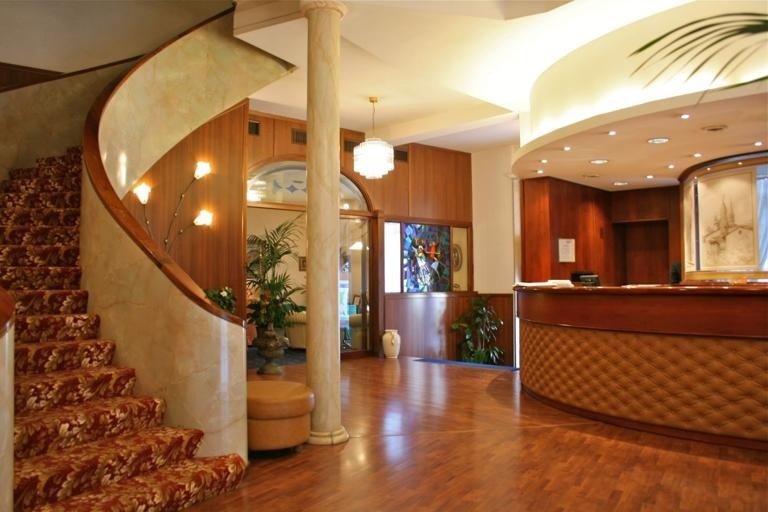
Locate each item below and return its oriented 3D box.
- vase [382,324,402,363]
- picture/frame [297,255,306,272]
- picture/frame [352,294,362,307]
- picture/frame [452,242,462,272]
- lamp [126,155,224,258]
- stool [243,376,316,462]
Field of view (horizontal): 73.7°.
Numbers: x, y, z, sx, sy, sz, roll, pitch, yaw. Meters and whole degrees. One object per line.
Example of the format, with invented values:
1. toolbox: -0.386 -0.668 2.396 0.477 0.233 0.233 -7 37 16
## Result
1. vase: 0.099 1.681 9.716 0.350 0.513 0.430 0 1 16
2. picture/frame: -1.919 0.182 11.981 0.047 0.390 0.422 2 -4 -38
3. picture/frame: -0.522 0.867 9.941 0.053 0.199 0.227 2 -2 39
4. picture/frame: 1.594 0.037 11.295 0.076 0.640 0.666 0 0 28
5. lamp: -2.910 -0.696 7.050 1.380 2.180 0.478 -9 43 -33
6. stool: -0.954 1.482 4.804 0.647 0.370 0.632 0 -8 1
